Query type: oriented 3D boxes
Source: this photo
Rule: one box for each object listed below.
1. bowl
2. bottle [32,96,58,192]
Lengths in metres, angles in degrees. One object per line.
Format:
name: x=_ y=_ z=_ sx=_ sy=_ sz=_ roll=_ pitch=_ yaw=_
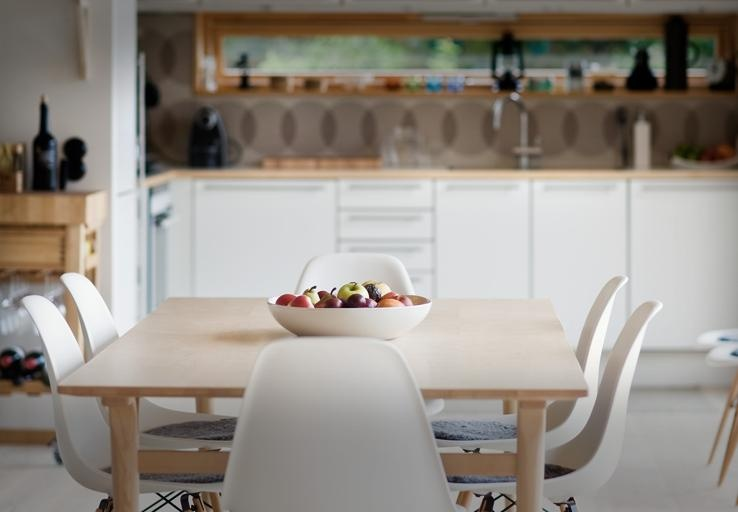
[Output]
bowl: x=-0.049 y=0.206 z=2.048 sx=0.477 sy=0.123 sz=0.211 roll=-3 pitch=10 yaw=-11
bottle: x=-1.732 y=-0.588 z=3.648 sx=0.129 sy=0.487 sz=0.090 roll=-3 pitch=11 yaw=-11
